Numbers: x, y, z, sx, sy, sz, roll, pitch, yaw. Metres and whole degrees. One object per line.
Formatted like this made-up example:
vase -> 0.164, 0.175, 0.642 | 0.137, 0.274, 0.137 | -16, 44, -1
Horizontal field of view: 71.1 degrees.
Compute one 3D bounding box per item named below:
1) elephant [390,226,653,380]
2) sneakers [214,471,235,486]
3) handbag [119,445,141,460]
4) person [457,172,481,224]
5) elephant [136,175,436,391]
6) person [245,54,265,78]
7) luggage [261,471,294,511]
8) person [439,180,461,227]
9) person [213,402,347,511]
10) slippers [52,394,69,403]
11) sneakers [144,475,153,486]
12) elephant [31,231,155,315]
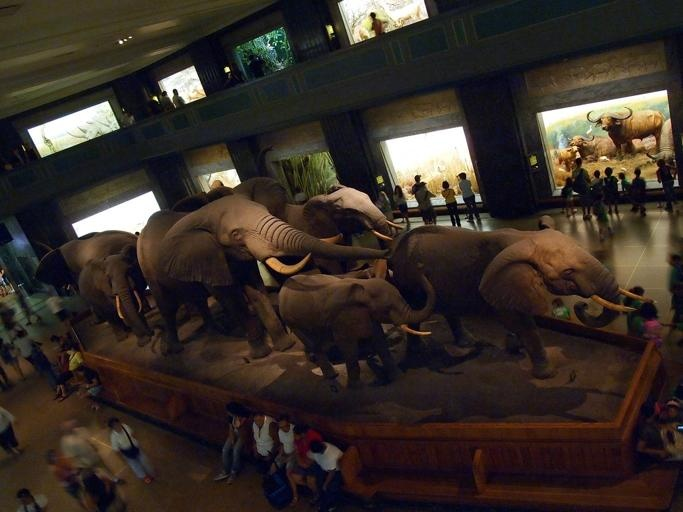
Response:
elephant -> 2.331, 0.315, 6.802 | 3.282, 1.863, 1.621 | 7, 34, 32
sneakers -> -1.672, 3.219, 6.935 | 0.411, 0.177, 0.137 | -1, -7, 22
handbag -> -3.121, 2.924, 7.063 | 0.240, 0.186, 0.244 | 1, 3, 14
person -> 3.105, -1.408, 11.576 | 0.363, 1.329, 1.117 | -10, 12, 16
elephant -> -1.666, -0.111, 9.107 | 5.519, 3.110, 2.416 | -2, 24, 32
person -> -2.453, -5.465, 13.730 | 0.475, 0.799, 0.953 | -15, 11, -6
luggage -> -0.835, 3.095, 6.408 | 0.420, 0.312, 0.408 | -24, 16, -35
person -> 2.633, -1.267, 11.473 | 0.303, 1.198, 1.573 | -11, 12, 14
person -> -0.800, 2.686, 6.487 | 1.616, 0.865, 1.075 | 12, 26, 37
slippers -> -5.826, 2.953, 9.912 | 0.266, 0.111, 0.141 | -12, 11, 7
sneakers -> -2.949, 3.434, 7.283 | 0.089, 0.040, 0.124 | 3, 23, -1
elephant -> -5.974, 0.360, 11.731 | 2.905, 1.713, 1.829 | 2, 21, 33
